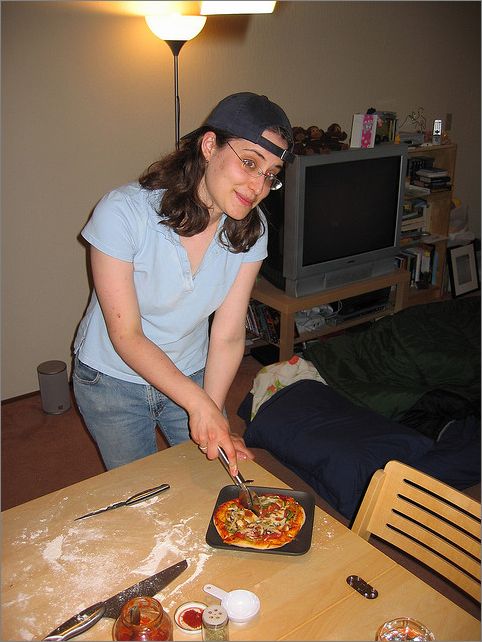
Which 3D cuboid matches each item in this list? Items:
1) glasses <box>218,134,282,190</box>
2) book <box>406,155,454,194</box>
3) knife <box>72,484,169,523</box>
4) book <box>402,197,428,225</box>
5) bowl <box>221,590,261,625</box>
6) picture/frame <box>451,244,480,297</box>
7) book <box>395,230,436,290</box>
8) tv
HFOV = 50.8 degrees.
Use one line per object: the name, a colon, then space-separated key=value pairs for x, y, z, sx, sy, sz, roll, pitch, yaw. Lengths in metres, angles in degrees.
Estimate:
glasses: x=0.024 y=-0.341 z=1.088 sx=0.090 sy=0.028 sz=0.093 roll=18 pitch=27 yaw=-51
book: x=1.556 y=-1.212 z=4.123 sx=0.288 sy=0.124 sz=0.382 roll=22 pitch=32 yaw=35
knife: x=-0.245 y=0.375 z=1.036 sx=0.143 sy=0.016 sz=0.020 roll=-12 pitch=20 yaw=-31
book: x=1.345 y=-0.873 z=3.953 sx=0.216 sy=0.098 sz=0.292 roll=16 pitch=33 yaw=31
bowl: x=0.001 y=0.453 z=0.800 sx=0.061 sy=0.036 sz=0.043 roll=-4 pitch=14 yaw=-2
picture/frame: x=1.892 y=-0.427 z=4.318 sx=0.426 sy=0.471 sz=0.035 roll=-19 pitch=14 yaw=-36
book: x=1.332 y=-0.471 z=3.915 sx=0.311 sy=0.404 sz=0.426 roll=23 pitch=20 yaw=37
tv: x=0.498 y=-0.568 z=2.808 sx=0.767 sy=0.697 sz=0.431 roll=-20 pitch=41 yaw=-31
